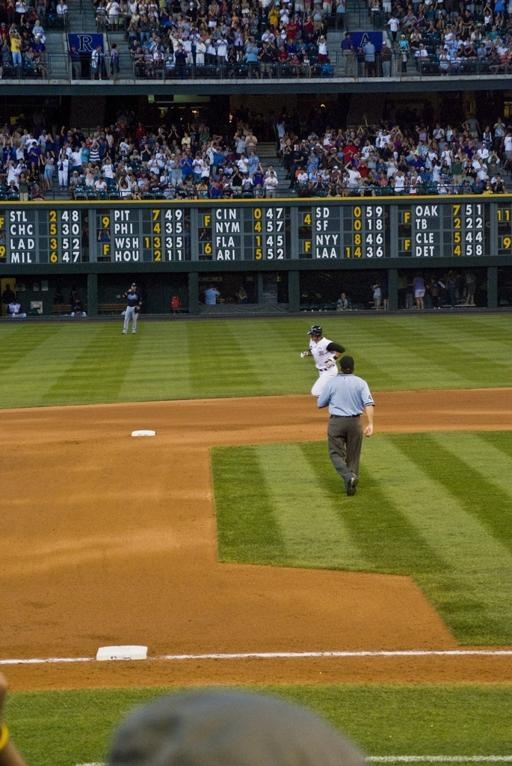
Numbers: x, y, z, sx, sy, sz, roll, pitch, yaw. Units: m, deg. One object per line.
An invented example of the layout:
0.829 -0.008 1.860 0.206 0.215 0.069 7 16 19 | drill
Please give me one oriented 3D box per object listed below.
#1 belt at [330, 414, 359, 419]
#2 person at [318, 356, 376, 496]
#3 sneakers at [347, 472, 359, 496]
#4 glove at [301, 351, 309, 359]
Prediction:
0.939 0.365 12.715 0.291 0.051 0.113 -1 5 0 | belt
0.953 0.497 12.832 0.565 1.500 0.709 -1 5 3 | person
1.017 1.107 12.699 0.092 0.269 0.112 2 22 -2 | sneakers
0.713 -0.355 17.611 0.121 0.087 0.204 0 9 3 | glove
